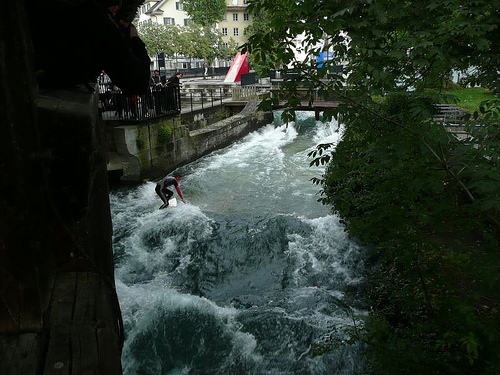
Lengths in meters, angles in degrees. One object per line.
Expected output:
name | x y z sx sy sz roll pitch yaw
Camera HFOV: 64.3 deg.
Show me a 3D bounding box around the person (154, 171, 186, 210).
person | -2.876 0.251 14.708 1.047 1.662 0.876 6 5 -1
